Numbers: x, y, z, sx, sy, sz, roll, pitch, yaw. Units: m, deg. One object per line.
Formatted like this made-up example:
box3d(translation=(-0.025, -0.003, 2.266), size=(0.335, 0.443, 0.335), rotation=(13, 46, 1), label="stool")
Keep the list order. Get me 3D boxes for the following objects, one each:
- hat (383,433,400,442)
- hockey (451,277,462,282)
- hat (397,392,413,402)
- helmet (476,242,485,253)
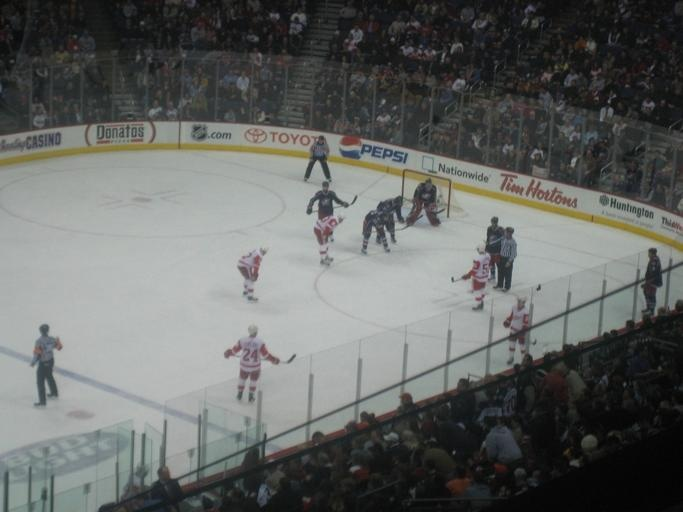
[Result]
box3d(translation=(0.914, 3.255, 17.301), size=(0.273, 0.084, 0.357), rotation=(2, 16, -6), label="hat")
box3d(translation=(2.903, 0.590, 24.386), size=(0.273, 0.150, 0.183), rotation=(-7, 5, 16), label="hockey")
box3d(translation=(1.217, 2.607, 17.900), size=(0.198, 0.106, 0.146), rotation=(27, 30, 38), label="hat")
box3d(translation=(3.525, -0.219, 24.113), size=(0.190, 0.227, 0.335), rotation=(4, 16, 3), label="helmet")
